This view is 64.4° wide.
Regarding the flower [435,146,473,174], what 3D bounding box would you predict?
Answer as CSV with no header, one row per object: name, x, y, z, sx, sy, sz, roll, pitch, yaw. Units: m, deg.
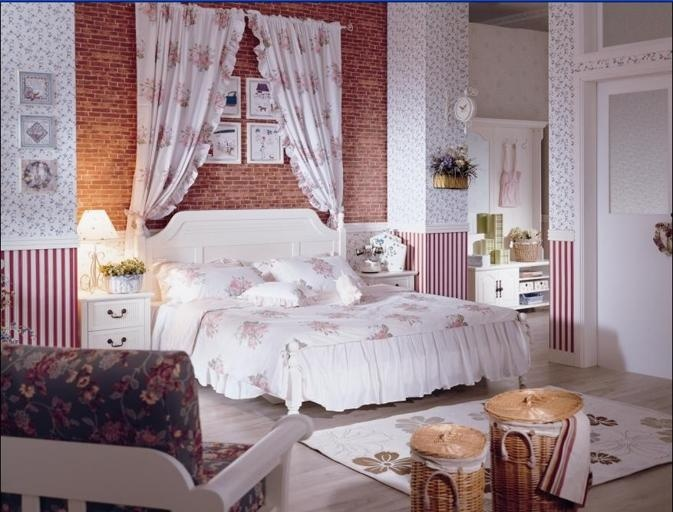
flower,1.394,-1.154,6.489,0.416,0.246,0.412,-3,19,-19

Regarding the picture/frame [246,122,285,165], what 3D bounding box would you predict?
picture/frame,-0.825,-1.310,6.071,0.513,0.535,0.041,-2,5,-29

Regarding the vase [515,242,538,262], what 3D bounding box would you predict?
vase,2.797,-0.070,7.929,0.279,0.190,0.301,1,-4,-8

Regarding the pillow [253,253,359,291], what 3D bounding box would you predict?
pillow,-0.306,0.134,5.533,0.618,0.156,0.520,0,16,-33

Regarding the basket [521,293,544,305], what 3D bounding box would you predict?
basket,2.840,0.606,7.835,0.287,0.091,0.184,-3,4,-29

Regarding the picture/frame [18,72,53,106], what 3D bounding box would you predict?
picture/frame,-2.458,-1.380,4.356,0.304,0.288,0.031,-2,7,-32

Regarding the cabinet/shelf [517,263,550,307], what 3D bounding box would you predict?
cabinet/shelf,2.990,0.376,7.830,0.299,0.626,0.687,-8,-2,-21

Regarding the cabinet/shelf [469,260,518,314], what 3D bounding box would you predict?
cabinet/shelf,2.185,0.426,7.502,0.759,0.591,0.279,-3,2,-24

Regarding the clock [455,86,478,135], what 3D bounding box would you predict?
clock,1.538,-1.779,6.370,0.144,0.487,0.294,-6,9,-34

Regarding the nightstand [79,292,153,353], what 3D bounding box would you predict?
nightstand,-1.919,0.690,4.811,0.616,0.580,0.425,-3,-17,-12

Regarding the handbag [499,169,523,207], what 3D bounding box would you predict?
handbag,2.593,-1.027,8.058,0.472,0.562,0.101,-6,8,-37

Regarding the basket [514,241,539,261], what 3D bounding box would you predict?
basket,2.802,-0.080,7.926,0.304,0.182,0.297,1,-3,-13

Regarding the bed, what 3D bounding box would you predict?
bed,-0.349,0.618,4.918,2.216,1.353,2.573,-4,6,-35

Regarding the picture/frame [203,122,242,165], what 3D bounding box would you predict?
picture/frame,-1.262,-1.254,5.827,0.519,0.520,0.035,-1,3,-34

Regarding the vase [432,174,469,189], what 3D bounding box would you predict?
vase,1.361,-0.908,6.465,0.249,0.094,0.241,1,0,-40

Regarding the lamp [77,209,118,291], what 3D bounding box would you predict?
lamp,-2.225,-0.063,4.952,0.374,0.638,0.365,-2,-3,-19

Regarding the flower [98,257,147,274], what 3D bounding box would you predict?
flower,-1.885,0.095,4.860,0.207,0.104,0.248,1,2,6

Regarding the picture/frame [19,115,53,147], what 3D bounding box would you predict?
picture/frame,-2.465,-1.042,4.382,0.285,0.269,0.099,-2,6,-34
